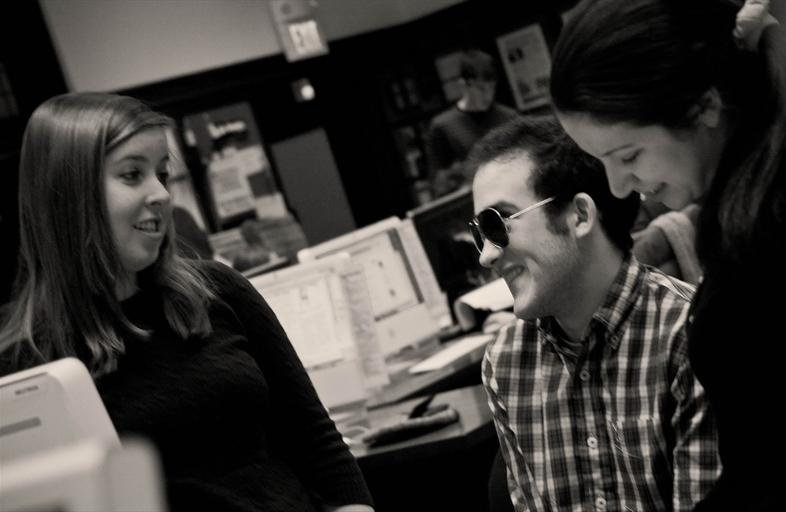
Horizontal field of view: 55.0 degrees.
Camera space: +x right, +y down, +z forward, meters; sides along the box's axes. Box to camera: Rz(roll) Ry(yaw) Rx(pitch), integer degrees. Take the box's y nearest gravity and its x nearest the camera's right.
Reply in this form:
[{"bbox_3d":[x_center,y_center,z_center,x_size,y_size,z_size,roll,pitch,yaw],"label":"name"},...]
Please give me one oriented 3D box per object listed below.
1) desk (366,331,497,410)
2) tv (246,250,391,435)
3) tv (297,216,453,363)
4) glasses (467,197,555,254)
[{"bbox_3d":[0.150,0.447,2.922,0.303,0.198,0.458,-9,12,41],"label":"desk"},{"bbox_3d":[-0.216,0.264,2.328,0.445,0.439,0.155,-29,6,10],"label":"tv"},{"bbox_3d":[-0.080,0.136,2.816,0.156,0.421,0.515,-18,9,38],"label":"tv"},{"bbox_3d":[0.296,-0.084,1.783,0.229,0.079,0.216,-20,-4,-6],"label":"glasses"}]
